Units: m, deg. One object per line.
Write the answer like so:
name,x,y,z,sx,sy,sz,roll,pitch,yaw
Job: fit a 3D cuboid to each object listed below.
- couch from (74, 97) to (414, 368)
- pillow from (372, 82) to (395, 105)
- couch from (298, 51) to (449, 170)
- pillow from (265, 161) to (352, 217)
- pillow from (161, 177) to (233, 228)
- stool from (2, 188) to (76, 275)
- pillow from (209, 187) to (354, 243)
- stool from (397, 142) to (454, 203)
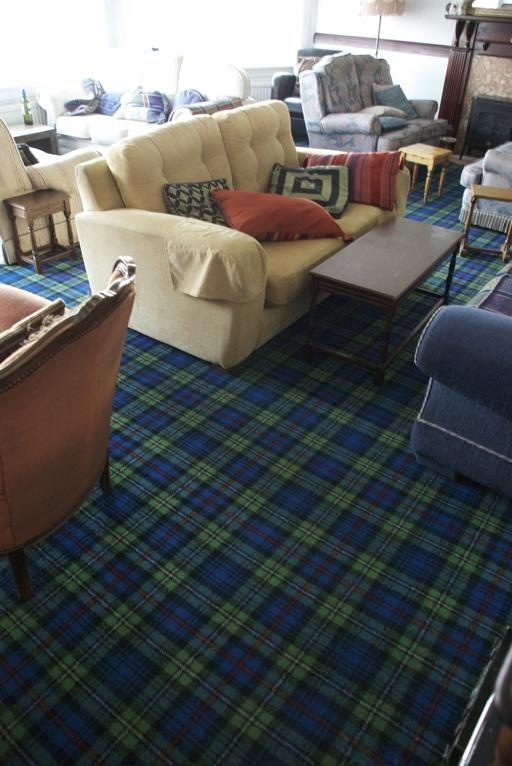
couch,0.047,-0.912,2.852,0.949,0.833,1.652,22,43,28
pillow,1.222,-2.795,5.319,0.239,0.244,0.075,7,3,18
couch,1.162,-2.562,5.115,0.896,0.858,1.289,26,41,37
pillow,0.284,-1.034,2.949,0.411,0.379,0.121,10,-13,6
pillow,-0.286,-0.850,2.576,0.104,0.238,0.395,-12,4,41
stool,-1.290,-0.899,3.242,0.352,0.437,0.311,-27,42,-36
pillow,0.113,-0.811,2.670,0.393,0.112,0.383,-1,34,-26
stool,1.422,-1.799,4.685,0.411,0.351,0.379,22,41,26
